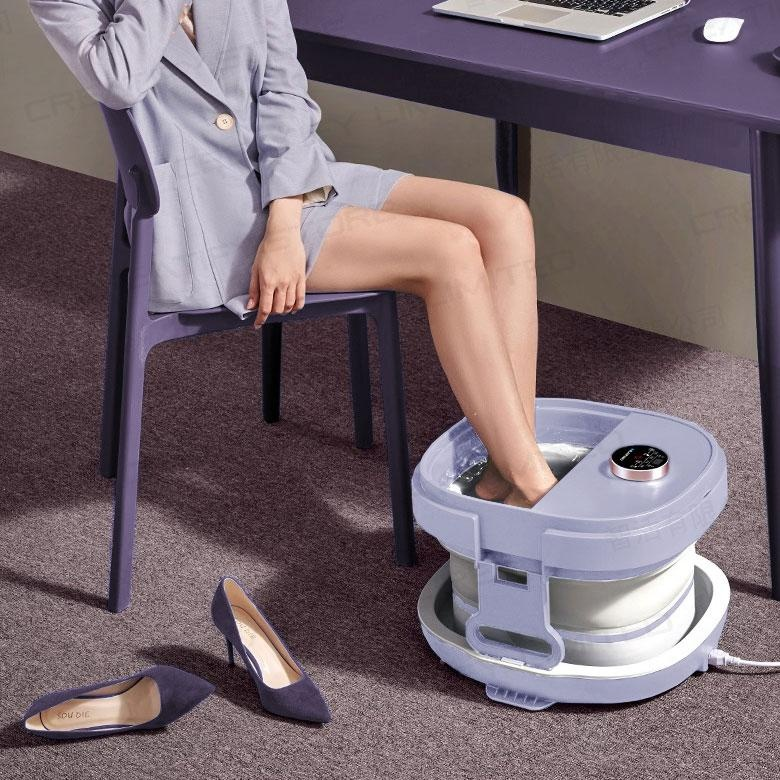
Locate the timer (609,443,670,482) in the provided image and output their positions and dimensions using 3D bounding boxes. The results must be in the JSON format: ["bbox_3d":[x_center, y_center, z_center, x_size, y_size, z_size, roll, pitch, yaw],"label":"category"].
[{"bbox_3d":[0.307,0.089,1.083,0.069,0.017,0.058,8,35,16],"label":"timer"}]

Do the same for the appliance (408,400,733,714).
[{"bbox_3d":[0.278,0.190,1.243,0.499,0.307,0.419,5,24,33],"label":"appliance"}]

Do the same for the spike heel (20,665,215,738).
[{"bbox_3d":[-0.344,0.403,1.143,0.240,0.066,0.066,-6,36,-4],"label":"spike heel"}]

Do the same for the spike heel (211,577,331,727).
[{"bbox_3d":[-0.161,0.350,1.177,0.074,0.110,0.219,-24,43,-40],"label":"spike heel"}]

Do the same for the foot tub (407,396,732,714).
[{"bbox_3d":[0.243,0.205,1.176,0.403,0.318,0.362,10,38,20],"label":"foot tub"}]

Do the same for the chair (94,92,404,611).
[{"bbox_3d":[-0.189,-0.089,1.516,0.614,0.747,0.573,-10,26,-14],"label":"chair"}]
